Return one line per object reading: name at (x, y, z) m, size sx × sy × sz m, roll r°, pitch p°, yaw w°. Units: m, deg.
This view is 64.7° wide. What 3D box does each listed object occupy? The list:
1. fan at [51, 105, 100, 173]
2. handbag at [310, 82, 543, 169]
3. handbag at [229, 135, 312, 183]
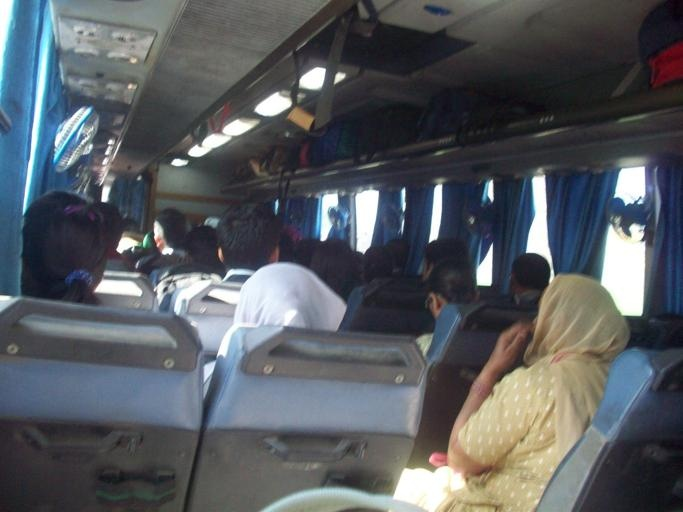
fan at (-1.466, -0.648, 2.957) m, size 0.204 × 0.367 × 0.421 m, roll 5°, pitch 3°, yaw -28°
handbag at (0.333, -0.515, 2.377) m, size 0.418 × 0.148 × 0.598 m, roll 3°, pitch -23°, yaw -35°
handbag at (-0.332, -0.446, 2.747) m, size 0.244 × 0.110 × 0.294 m, roll -19°, pitch 4°, yaw -42°
